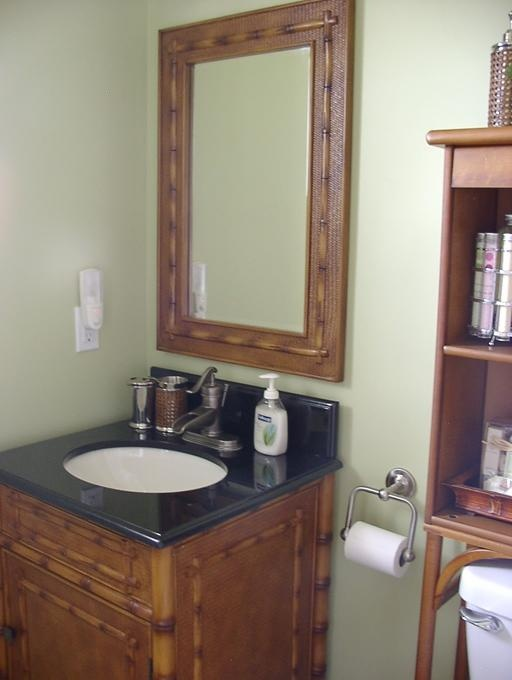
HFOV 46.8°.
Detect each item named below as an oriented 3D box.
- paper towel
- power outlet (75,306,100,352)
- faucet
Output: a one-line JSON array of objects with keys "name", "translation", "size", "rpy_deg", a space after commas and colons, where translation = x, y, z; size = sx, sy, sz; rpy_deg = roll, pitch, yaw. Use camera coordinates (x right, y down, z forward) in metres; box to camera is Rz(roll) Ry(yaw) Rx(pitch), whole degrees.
[{"name": "paper towel", "translation": [0.280, 0.432, 1.326], "size": [0.144, 0.100, 0.098], "rpy_deg": [3, 25, 44]}, {"name": "power outlet", "translation": [-0.472, -0.035, 1.641], "size": [0.014, 0.144, 0.108], "rpy_deg": [4, 8, 25]}, {"name": "faucet", "translation": [-0.104, 0.210, 1.584], "size": [0.141, 0.238, 0.161], "rpy_deg": [18, 16, 30]}]
